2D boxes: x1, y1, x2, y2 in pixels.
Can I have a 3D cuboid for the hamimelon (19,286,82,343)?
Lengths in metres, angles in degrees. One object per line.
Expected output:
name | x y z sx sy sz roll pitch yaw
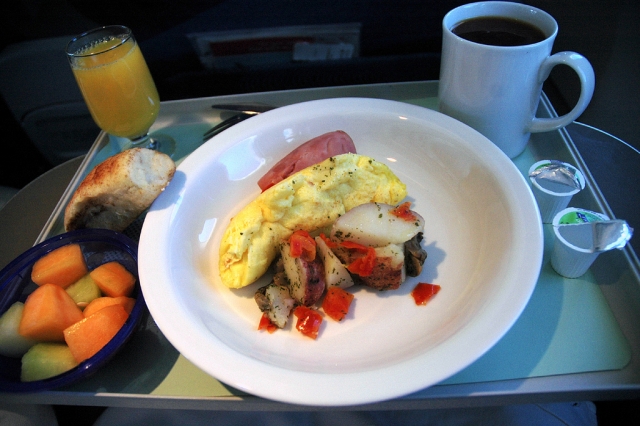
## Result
hamimelon | -0.592 0.228 1.063 0.116 0.056 0.084 1 44 42

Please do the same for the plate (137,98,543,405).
plate | 0.037 0.046 1.124 0.894 0.119 0.755 -9 59 -2

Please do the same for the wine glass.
wine glass | -0.506 -0.307 1.395 0.211 0.364 0.236 12 42 17

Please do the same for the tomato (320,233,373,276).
tomato | 0.077 0.097 1.090 0.085 0.030 0.086 5 59 5
